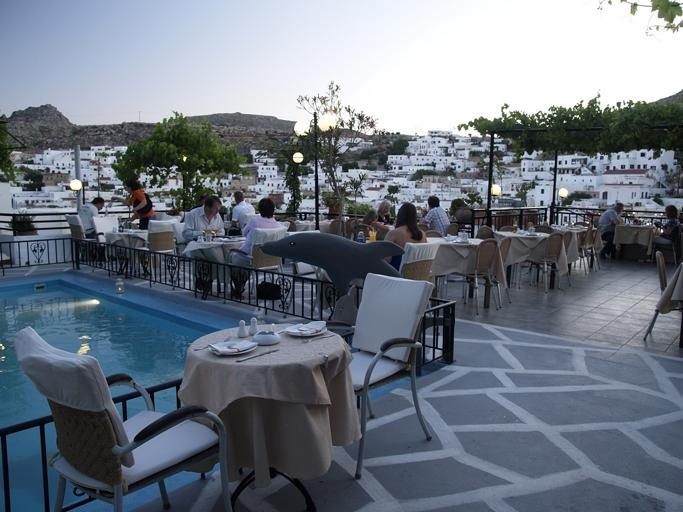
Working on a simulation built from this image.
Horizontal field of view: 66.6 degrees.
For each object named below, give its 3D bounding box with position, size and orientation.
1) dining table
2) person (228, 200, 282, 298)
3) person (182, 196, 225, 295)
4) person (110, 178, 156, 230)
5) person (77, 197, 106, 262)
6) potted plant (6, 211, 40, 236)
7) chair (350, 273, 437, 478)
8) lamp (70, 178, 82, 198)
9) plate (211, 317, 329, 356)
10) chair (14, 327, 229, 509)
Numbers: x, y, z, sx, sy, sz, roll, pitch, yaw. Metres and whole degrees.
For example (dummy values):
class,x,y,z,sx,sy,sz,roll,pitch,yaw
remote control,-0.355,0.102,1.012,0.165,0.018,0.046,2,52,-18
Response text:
class,x,y,z,sx,sy,sz,roll,pitch,yaw
dining table,-0.419,0.928,3.488,0.799,0.854,1.259,-1,2,-31
person,-1.362,-0.177,7.804,0.690,1.514,0.609,10,12,36
person,-2.063,-0.153,8.305,0.763,1.557,0.522,1,1,42
person,-4.340,-1.101,11.002,0.906,1.508,0.891,6,10,21
person,-5.202,-0.613,11.063,0.504,1.300,0.754,20,6,30
potted plant,-7.243,-0.711,11.867,0.513,0.746,0.721,2,5,35
chair,0.258,0.923,4.222,0.634,1.433,0.670,-2,13,-35
lamp,-6.317,-1.621,12.416,0.266,0.413,0.733,-4,8,-27
plate,-0.512,0.557,3.537,0.599,0.196,0.653,5,8,35
chair,-1.265,0.975,3.039,1.107,1.106,0.548,-3,8,-24
